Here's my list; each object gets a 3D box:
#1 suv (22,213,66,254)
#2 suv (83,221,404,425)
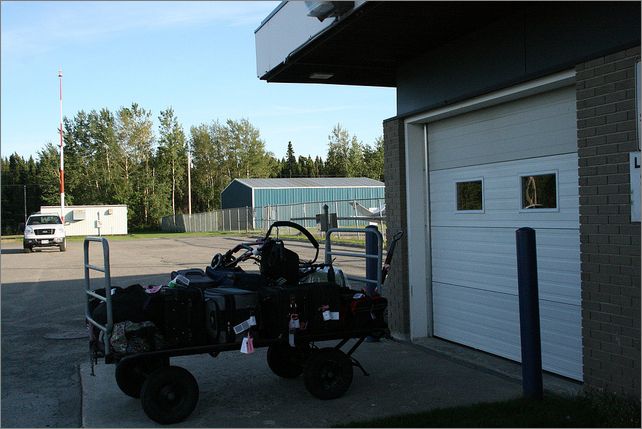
[{"bbox_3d":[-14.207,0.784,26.929,1.419,1.534,2.728,0,-8,-16],"label":"suv"},{"bbox_3d":[-0.987,1.131,7.186,4.088,2.540,2.010,0,0,-26],"label":"suv"}]
